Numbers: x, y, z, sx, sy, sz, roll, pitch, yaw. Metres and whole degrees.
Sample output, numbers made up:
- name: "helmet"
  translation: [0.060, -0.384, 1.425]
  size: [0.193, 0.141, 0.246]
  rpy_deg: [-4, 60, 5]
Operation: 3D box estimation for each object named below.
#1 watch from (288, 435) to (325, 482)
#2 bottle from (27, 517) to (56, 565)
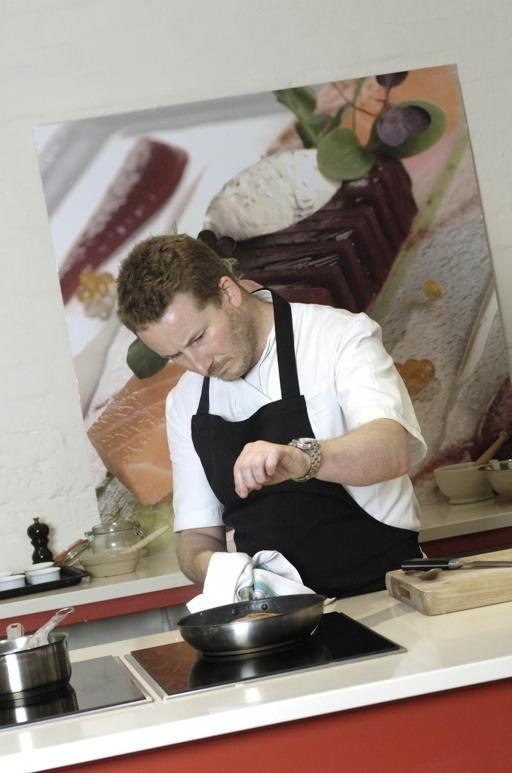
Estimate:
- name: "watch"
  translation: [0.078, 0.112, 1.086]
  size: [0.056, 0.061, 0.024]
  rpy_deg: [-10, 4, -30]
- name: "bottle"
  translation: [-0.711, 0.504, 2.299]
  size: [0.068, 0.151, 0.169]
  rpy_deg: [-11, 3, -19]
